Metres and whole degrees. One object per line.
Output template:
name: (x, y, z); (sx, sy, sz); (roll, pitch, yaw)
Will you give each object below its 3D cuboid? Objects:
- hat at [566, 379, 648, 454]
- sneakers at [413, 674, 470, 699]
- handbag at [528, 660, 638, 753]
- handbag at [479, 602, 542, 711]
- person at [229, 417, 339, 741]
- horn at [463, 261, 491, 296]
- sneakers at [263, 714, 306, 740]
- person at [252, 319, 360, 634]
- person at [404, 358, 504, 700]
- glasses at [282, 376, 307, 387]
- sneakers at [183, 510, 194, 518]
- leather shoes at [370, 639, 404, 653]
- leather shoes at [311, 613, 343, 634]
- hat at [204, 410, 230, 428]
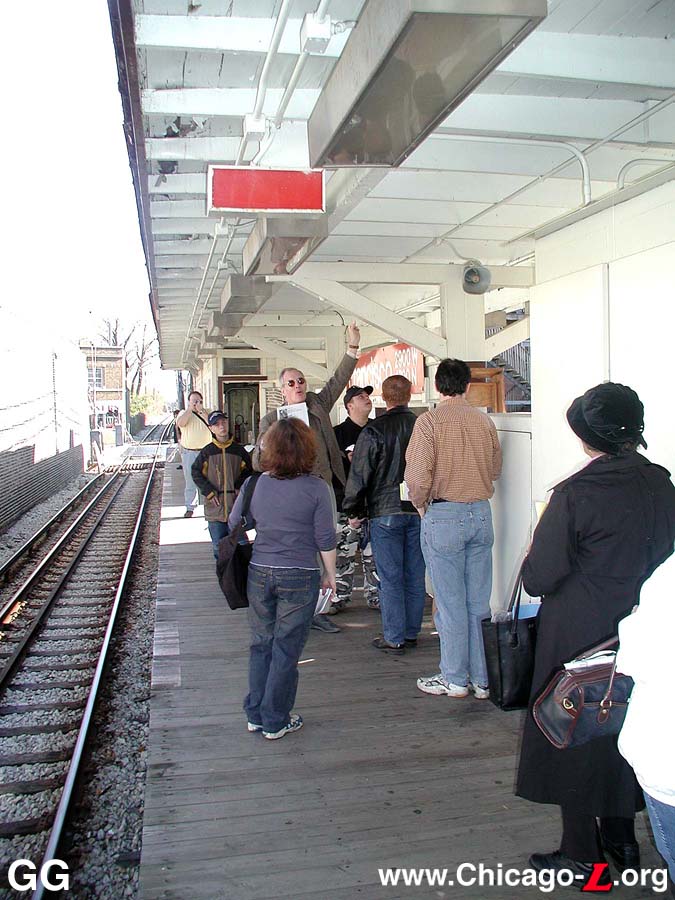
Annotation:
hat: (0.812, -0.101, 1.932); (0.250, 0.124, 0.328); (12, 20, 26)
sneakers: (0.589, 1.372, 3.693); (0.284, 0.126, 0.107); (6, -1, 13)
handbag: (0.671, 0.651, 1.707); (0.309, 0.280, 0.141); (15, -4, -38)
handbag: (0.573, 0.698, 2.115); (0.153, 0.260, 0.273); (-13, -14, 33)
person: (-0.234, 0.638, 3.129); (0.433, 1.561, 0.377); (-1, -3, -8)
horn: (1.370, -1.709, 6.428); (0.268, 0.329, 0.449); (2, 29, 0)
sneakers: (-0.256, 1.406, 3.238); (0.071, 0.081, 0.198); (14, 18, 35)
person: (-0.240, 0.203, 4.956); (0.797, 2.193, 0.695); (3, 15, 21)
person: (0.654, 0.450, 3.624); (0.529, 1.916, 0.409); (-2, -3, 9)
glasses: (-0.291, -0.471, 4.439); (0.168, 0.085, 0.131); (0, -3, -21)
sneakers: (-2.719, 1.172, 11.768); (0.185, 0.172, 0.109); (0, -2, -12)
leather shoes: (0.358, 1.396, 4.605); (0.080, 0.084, 0.203); (6, -8, -33)
leather shoes: (-0.110, 1.392, 5.205); (0.135, 0.120, 0.307); (-1, 3, -45)
hat: (-1.206, -0.335, 6.529); (0.195, 0.132, 0.259); (-9, -27, -19)
